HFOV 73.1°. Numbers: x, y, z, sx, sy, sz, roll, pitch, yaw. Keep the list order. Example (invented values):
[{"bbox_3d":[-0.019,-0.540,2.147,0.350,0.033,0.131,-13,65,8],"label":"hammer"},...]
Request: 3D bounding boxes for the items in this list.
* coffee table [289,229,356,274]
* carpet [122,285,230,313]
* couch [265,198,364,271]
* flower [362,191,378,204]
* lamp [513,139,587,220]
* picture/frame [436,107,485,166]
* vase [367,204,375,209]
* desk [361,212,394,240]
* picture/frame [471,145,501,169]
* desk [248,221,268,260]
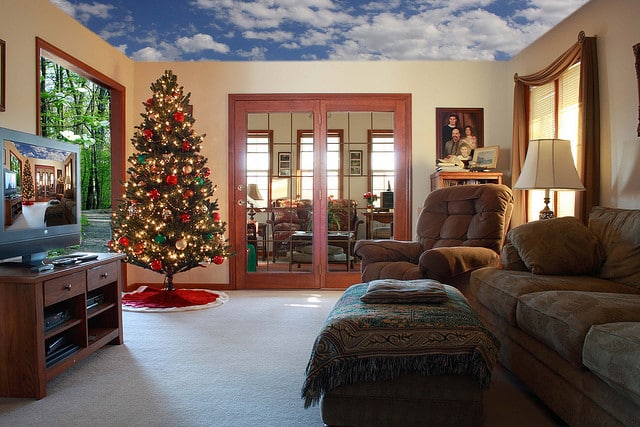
[{"bbox_3d":[-0.076,0.560,5.939,0.944,0.536,0.529,1,-20,-28],"label":"coffee table"},{"bbox_3d":[-1.706,0.981,5.071,1.237,0.161,0.768,-1,8,-12],"label":"carpet"},{"bbox_3d":[-0.074,0.242,5.880,1.274,0.819,0.686,2,6,-4],"label":"couch"},{"bbox_3d":[0.672,-0.215,5.781,0.166,0.153,0.162,-1,-1,23],"label":"flower"},{"bbox_3d":[2.439,-0.312,4.695,0.766,1.125,0.793,-1,-1,25],"label":"lamp"},{"bbox_3d":[1.859,-1.016,5.660,0.885,0.916,0.064,1,-2,-3],"label":"picture/frame"},{"bbox_3d":[0.659,-0.098,5.753,0.052,0.054,0.063,-2,24,11],"label":"vase"},{"bbox_3d":[0.848,0.176,5.940,0.552,0.362,0.485,-3,-6,20],"label":"desk"},{"bbox_3d":[2.094,-0.716,5.471,0.028,0.308,0.375,25,-11,-28],"label":"picture/frame"},{"bbox_3d":[-0.853,0.350,5.918,0.346,0.458,0.330,1,4,15],"label":"desk"}]
